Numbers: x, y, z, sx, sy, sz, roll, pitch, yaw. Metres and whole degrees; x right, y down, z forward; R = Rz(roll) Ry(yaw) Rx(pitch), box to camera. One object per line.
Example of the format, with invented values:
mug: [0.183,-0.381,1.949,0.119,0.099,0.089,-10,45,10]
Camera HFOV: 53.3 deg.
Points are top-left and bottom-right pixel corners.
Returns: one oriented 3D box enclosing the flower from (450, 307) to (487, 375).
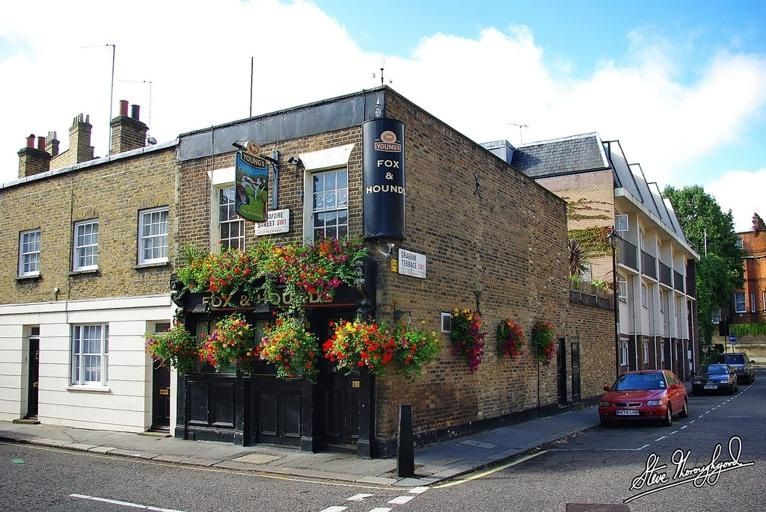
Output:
flower: [2.400,2.434,22.548,1.025,1.776,0.409,1,3,-22]

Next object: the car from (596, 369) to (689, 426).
car: [8.681,4.638,25.505,1.987,1.559,2.807,4,3,38]

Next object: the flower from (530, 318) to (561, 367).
flower: [5.414,2.879,26.076,0.759,1.122,1.454,-5,30,3]

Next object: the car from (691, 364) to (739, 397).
car: [16.188,6.007,37.326,1.868,1.394,1.949,4,3,30]
